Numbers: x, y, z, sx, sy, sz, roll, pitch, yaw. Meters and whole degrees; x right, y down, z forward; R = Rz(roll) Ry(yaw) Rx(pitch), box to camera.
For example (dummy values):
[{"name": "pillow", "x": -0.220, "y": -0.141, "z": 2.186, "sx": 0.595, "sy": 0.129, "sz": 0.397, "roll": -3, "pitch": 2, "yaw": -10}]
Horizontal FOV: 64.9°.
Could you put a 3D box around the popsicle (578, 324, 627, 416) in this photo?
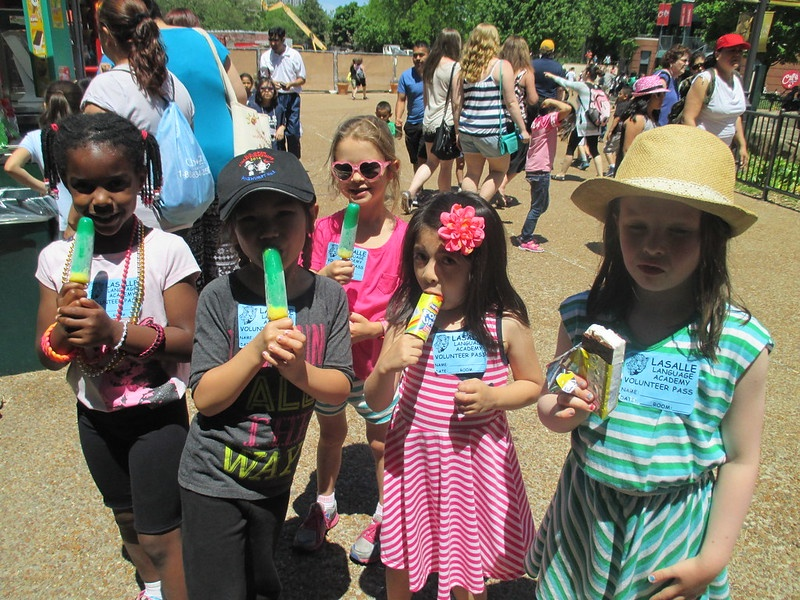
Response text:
[{"name": "popsicle", "x": 0.779, "y": 0.284, "z": 2.458, "sx": 0.146, "sy": 0.358, "sz": 0.098, "roll": 23, "pitch": 38, "yaw": 39}]

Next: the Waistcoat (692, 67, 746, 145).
[{"name": "Waistcoat", "x": 3.685, "y": -2.260, "z": 7.344, "sx": 0.585, "sy": 0.898, "sz": 0.499, "roll": -10, "pitch": 15, "yaw": -35}]

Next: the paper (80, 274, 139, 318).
[{"name": "paper", "x": -1.286, "y": -0.020, "z": 2.847, "sx": 0.201, "sy": 0.197, "sz": 0.099, "roll": 0, "pitch": 21, "yaw": -2}]

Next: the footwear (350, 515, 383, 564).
[{"name": "footwear", "x": -0.186, "y": 1.339, "z": 3.466, "sx": 0.112, "sy": 0.134, "sz": 0.287, "roll": 36, "pitch": 15, "yaw": 7}]

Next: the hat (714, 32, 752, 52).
[{"name": "hat", "x": 3.685, "y": -2.853, "z": 7.061, "sx": 0.306, "sy": 0.242, "sz": 0.457, "roll": 1, "pitch": 20, "yaw": 1}]

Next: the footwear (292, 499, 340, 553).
[{"name": "footwear", "x": -0.470, "y": 1.266, "z": 3.580, "sx": 0.162, "sy": 0.175, "sz": 0.400, "roll": 8, "pitch": 16, "yaw": 22}]

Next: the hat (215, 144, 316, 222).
[{"name": "hat", "x": -0.604, "y": -0.532, "z": 2.751, "sx": 0.426, "sy": 0.304, "sz": 0.550, "roll": -11, "pitch": 4, "yaw": -8}]

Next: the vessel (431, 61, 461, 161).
[{"name": "vessel", "x": 0.589, "y": -2.454, "z": 8.020, "sx": 0.297, "sy": 1.433, "sz": 0.635, "roll": 2, "pitch": 25, "yaw": -11}]

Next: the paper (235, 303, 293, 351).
[{"name": "paper", "x": -0.539, "y": 0.111, "z": 2.538, "sx": 0.183, "sy": 0.142, "sz": 0.026, "roll": -1, "pitch": 1, "yaw": 1}]

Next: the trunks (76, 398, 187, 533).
[{"name": "trunks", "x": -1.192, "y": 0.750, "z": 2.888, "sx": 0.461, "sy": 0.530, "sz": 0.409, "roll": -8, "pitch": 23, "yaw": -21}]

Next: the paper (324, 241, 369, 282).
[{"name": "paper", "x": -0.280, "y": -0.197, "z": 3.346, "sx": 0.222, "sy": 0.227, "sz": 0.063, "roll": 0, "pitch": -3, "yaw": -17}]

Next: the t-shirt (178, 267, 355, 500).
[{"name": "t-shirt", "x": -0.576, "y": 0.376, "z": 2.722, "sx": 0.748, "sy": 0.867, "sz": 0.476, "roll": -4, "pitch": 21, "yaw": -12}]

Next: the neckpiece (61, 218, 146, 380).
[{"name": "neckpiece", "x": -1.261, "y": -0.009, "z": 2.756, "sx": 0.355, "sy": 0.685, "sz": 0.125, "roll": -2, "pitch": -12, "yaw": 9}]

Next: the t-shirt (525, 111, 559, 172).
[{"name": "t-shirt", "x": 1.693, "y": -2.028, "z": 7.640, "sx": 0.426, "sy": 0.781, "sz": 0.288, "roll": 7, "pitch": 40, "yaw": 5}]

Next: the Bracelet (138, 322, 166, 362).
[{"name": "Bracelet", "x": -1.088, "y": 0.185, "z": 2.793, "sx": 0.081, "sy": 0.137, "sz": 0.111, "roll": 4, "pitch": 21, "yaw": 9}]

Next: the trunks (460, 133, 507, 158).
[{"name": "trunks", "x": 0.937, "y": -1.814, "z": 7.360, "sx": 0.453, "sy": 0.340, "sz": 0.328, "roll": 13, "pitch": 37, "yaw": 34}]

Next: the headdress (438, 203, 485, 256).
[{"name": "headdress", "x": 0.293, "y": -0.313, "z": 2.874, "sx": 0.256, "sy": 0.231, "sz": 0.150, "roll": -11, "pitch": 24, "yaw": -29}]

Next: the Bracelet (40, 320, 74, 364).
[{"name": "Bracelet", "x": -1.489, "y": 0.187, "z": 2.743, "sx": 0.063, "sy": 0.174, "sz": 0.143, "roll": -6, "pitch": 25, "yaw": 23}]

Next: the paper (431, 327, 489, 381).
[{"name": "paper", "x": 0.282, "y": 0.253, "z": 2.900, "sx": 0.229, "sy": 0.209, "sz": 0.033, "roll": 1, "pitch": -5, "yaw": 1}]

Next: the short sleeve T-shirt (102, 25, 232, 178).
[{"name": "short sleeve T-shirt", "x": -1.387, "y": -1.181, "z": 3.734, "sx": 0.557, "sy": 1.140, "sz": 0.840, "roll": -13, "pitch": 29, "yaw": -21}]
